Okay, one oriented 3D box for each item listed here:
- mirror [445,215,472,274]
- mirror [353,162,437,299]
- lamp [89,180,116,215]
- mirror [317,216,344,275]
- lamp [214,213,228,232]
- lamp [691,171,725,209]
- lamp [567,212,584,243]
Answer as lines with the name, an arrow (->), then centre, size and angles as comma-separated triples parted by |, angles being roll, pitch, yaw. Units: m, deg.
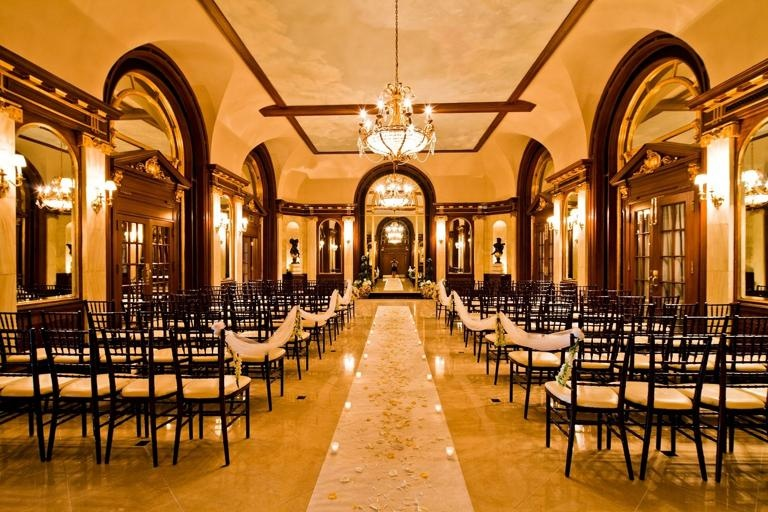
mirror -> 3.050, -0.376, 22.203 | 0.973, 2.147, 1.286 | -2, -5, 11
mirror -> 0.462, -1.158, 23.369 | 5.264, 7.515, 0.381 | 0, 0, 0
lamp -> -5.354, -1.143, 10.601 | 0.282, 0.647, 0.542 | -2, -5, 8
mirror -> -2.248, -0.366, 22.599 | 0.936, 2.226, 1.246 | 0, -5, -10
lamp -> -4.383, -0.897, 14.698 | 0.377, 0.441, 0.431 | 4, 8, 10
lamp -> 6.000, -1.183, 10.155 | 0.307, 0.703, 0.315 | -6, 17, 11
lamp -> 5.178, -0.813, 15.036 | 0.267, 0.997, 2.034 | -2, -6, 14
